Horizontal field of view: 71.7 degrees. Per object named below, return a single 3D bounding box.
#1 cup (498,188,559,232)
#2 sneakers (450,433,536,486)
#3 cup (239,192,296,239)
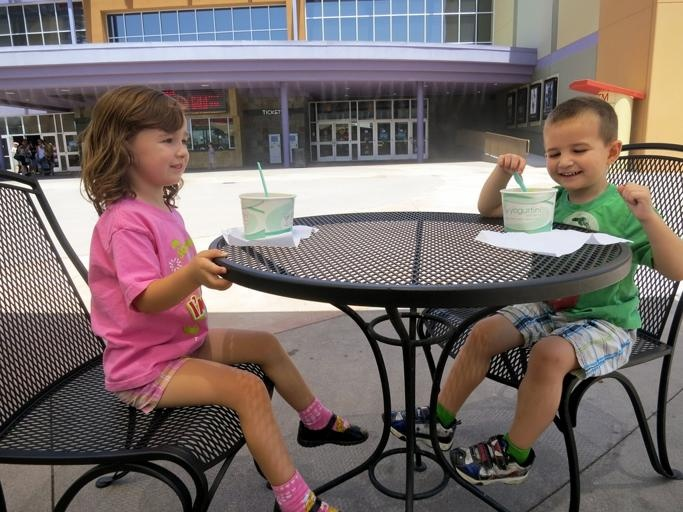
[{"bbox_3d":[0.581,-0.154,1.468,0.147,0.111,0.154,-2,13,0],"label":"cup"},{"bbox_3d":[0.452,0.639,1.497,0.276,0.136,0.134,2,56,5],"label":"sneakers"},{"bbox_3d":[-0.210,-0.121,1.424,0.160,0.105,0.135,-12,20,-39],"label":"cup"}]
